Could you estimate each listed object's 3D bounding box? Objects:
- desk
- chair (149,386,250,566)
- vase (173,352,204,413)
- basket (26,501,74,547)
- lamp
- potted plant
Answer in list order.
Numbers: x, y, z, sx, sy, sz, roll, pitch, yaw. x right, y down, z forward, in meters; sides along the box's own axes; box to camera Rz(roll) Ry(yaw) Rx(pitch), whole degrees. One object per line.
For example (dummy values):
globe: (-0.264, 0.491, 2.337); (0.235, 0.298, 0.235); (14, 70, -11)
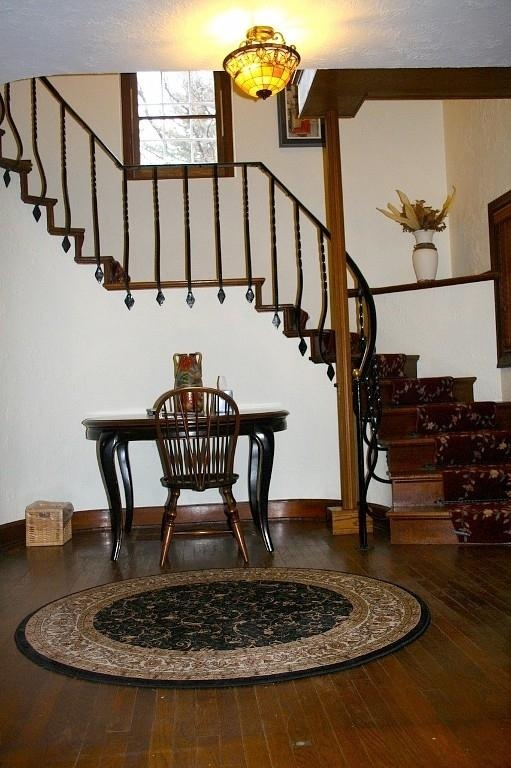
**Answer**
desk: (-0.409, 0.560, 3.595); (1.212, 0.850, 0.805); (0, 3, 2)
chair: (-0.290, 0.489, 3.212); (0.583, 0.908, 0.551); (-10, -10, 42)
vase: (-0.392, -0.001, 3.545); (0.189, 0.399, 0.154); (-1, -13, -8)
basket: (-1.269, 0.866, 3.759); (0.253, 0.198, 0.256); (0, 0, -8)
lamp: (0.030, -1.485, 2.843); (0.364, 0.312, 0.362); (1, 8, 19)
potted plant: (1.428, -1.285, 5.292); (0.536, 0.795, 0.714); (-8, 7, -40)
